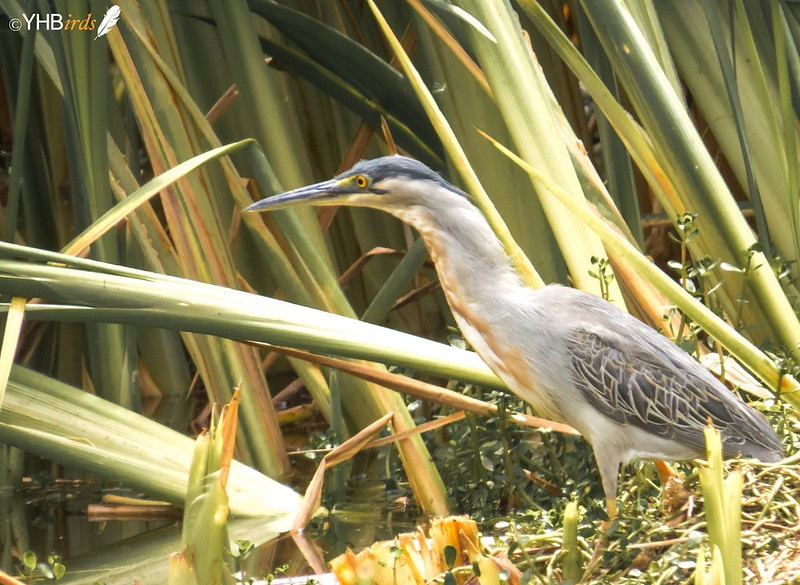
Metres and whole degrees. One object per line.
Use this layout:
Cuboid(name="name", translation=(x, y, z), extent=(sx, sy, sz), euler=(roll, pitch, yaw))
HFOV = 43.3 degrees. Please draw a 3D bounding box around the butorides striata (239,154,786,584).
Cuboid(name="butorides striata", translation=(0.377, 0.146, 2.300), extent=(1.214, 0.899, 0.349), euler=(-3, 0, -21))
